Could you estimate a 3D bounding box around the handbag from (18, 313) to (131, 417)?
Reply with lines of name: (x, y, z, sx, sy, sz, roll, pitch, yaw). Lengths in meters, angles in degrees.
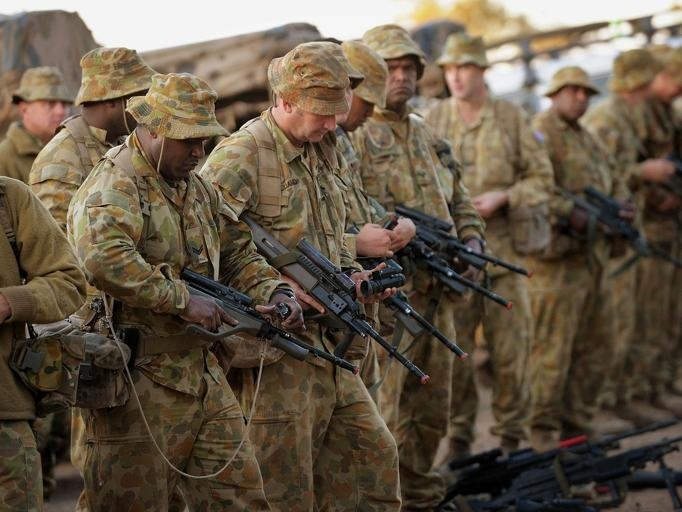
handbag: (-1.441, 0.577, 4.922, 0.405, 0.315, 0.478, 15, -4, -32)

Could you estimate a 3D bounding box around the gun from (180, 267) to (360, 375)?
gun: (-0.469, 0.382, 5.552, 0.990, 0.361, 0.110, 31, -32, -20)

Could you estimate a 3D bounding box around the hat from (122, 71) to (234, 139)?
hat: (-0.915, -0.911, 5.327, 0.626, 0.305, 0.596, 18, 16, 7)

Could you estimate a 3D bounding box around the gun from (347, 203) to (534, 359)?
gun: (0.776, 0.186, 7.220, 1.806, 0.789, 0.297, 35, -5, 12)

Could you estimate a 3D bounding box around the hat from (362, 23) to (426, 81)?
hat: (0.438, -1.716, 7.247, 0.506, 0.290, 0.717, 2, 17, -3)

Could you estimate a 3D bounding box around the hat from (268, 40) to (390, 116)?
hat: (-0.092, -1.036, 6.010, 0.677, 0.565, 0.271, 12, -31, -7)

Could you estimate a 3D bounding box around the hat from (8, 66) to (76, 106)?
hat: (-2.854, -1.638, 8.835, 0.408, 0.266, 0.516, 0, 3, 25)

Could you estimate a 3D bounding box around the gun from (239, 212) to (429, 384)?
gun: (-0.145, 0.279, 5.805, 1.695, 0.525, 0.287, 39, -15, 11)

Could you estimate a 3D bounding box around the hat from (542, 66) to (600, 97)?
hat: (2.085, -1.600, 8.291, 0.341, 0.186, 0.279, 6, -2, 19)

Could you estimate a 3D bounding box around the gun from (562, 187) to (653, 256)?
gun: (2.370, -0.319, 8.050, 0.957, 0.317, 0.113, 36, 16, 27)
